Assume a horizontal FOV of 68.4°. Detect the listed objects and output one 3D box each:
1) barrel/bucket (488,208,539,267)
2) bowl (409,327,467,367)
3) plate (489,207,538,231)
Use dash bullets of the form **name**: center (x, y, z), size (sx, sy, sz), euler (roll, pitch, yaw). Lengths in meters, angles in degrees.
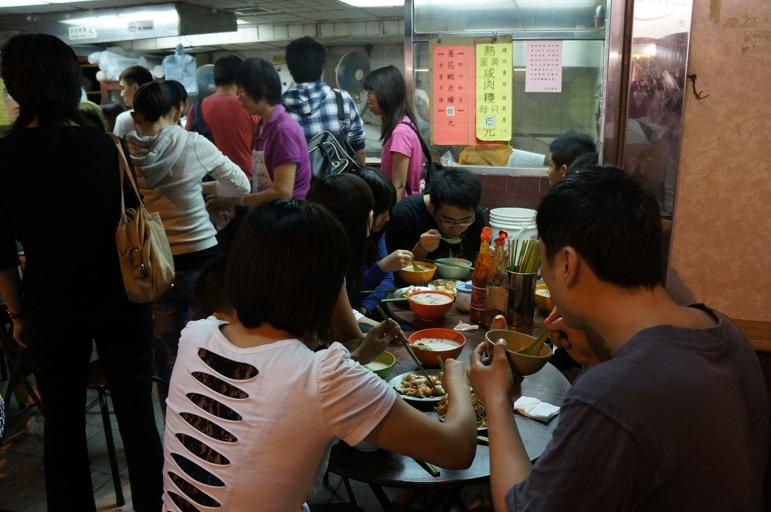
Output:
- **barrel/bucket**: center (0.815, -0.129, 3.740), size (0.392, 0.409, 0.391), euler (1, 13, 0)
- **bowl**: center (0.238, 0.428, 2.638), size (0.236, 0.110, 0.243), euler (5, -27, 2)
- **plate**: center (0.889, -0.267, 3.879), size (0.276, 0.123, 0.259), euler (-4, 16, -2)
